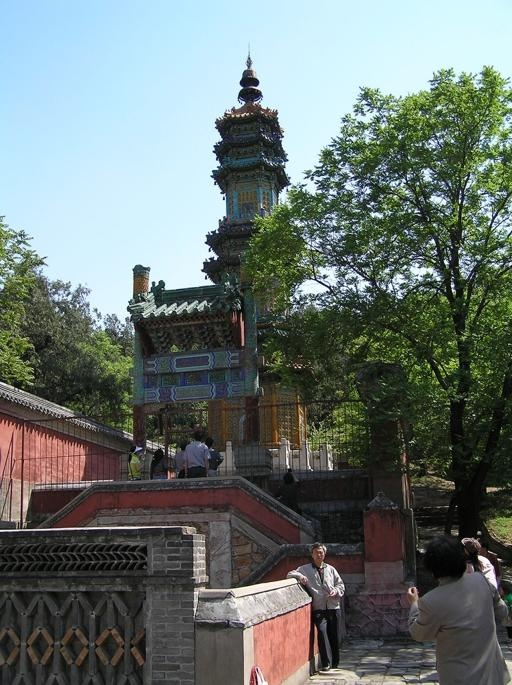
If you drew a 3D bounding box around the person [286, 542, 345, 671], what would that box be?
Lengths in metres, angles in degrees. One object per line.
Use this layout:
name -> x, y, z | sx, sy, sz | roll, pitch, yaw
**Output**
person -> 0.593, 2.521, 8.297 | 0.335, 1.180, 0.711 | -11, -14, 39
